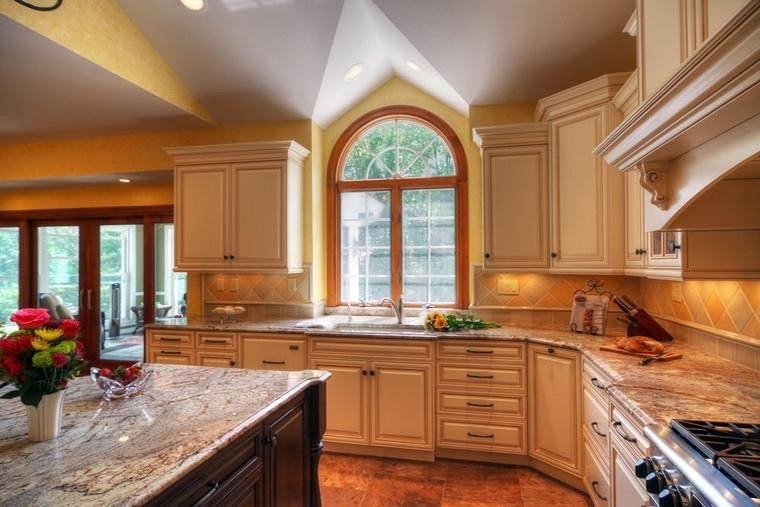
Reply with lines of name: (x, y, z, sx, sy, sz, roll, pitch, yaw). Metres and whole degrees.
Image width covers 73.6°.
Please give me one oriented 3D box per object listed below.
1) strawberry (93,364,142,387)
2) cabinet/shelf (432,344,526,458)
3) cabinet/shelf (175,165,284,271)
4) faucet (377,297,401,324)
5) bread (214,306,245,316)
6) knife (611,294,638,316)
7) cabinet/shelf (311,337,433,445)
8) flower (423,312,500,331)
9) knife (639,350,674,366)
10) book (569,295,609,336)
strawberry: (-1.534, 0.723, 2.997, 0.179, 0.066, 0.157, -1, -6, 7)
cabinet/shelf: (0.968, 1.264, 4.569, 0.838, 0.970, 0.677, -2, -8, 24)
cabinet/shelf: (-1.358, -0.361, 5.200, 1.382, 1.066, 0.530, 2, 3, 27)
faucet: (0.118, 0.561, 5.049, 0.210, 0.240, 0.559, -3, -3, 2)
bread: (-1.516, 0.587, 5.222, 0.282, 0.108, 0.468, -2, -3, -15)
knife: (2.028, 0.444, 4.231, 0.093, 0.170, 0.282, -41, -33, 5)
cabinet/shelf: (-0.017, 1.188, 4.334, 1.064, 0.822, 0.384, -1, -7, 10)
flower: (0.668, 0.626, 4.569, 0.433, 0.138, 0.266, 4, -7, 2)
knife: (1.908, 0.729, 3.529, 0.411, 0.035, 0.062, -3, -2, -30)
book: (1.749, 0.517, 4.282, 0.079, 0.298, 0.325, 14, -7, -39)
